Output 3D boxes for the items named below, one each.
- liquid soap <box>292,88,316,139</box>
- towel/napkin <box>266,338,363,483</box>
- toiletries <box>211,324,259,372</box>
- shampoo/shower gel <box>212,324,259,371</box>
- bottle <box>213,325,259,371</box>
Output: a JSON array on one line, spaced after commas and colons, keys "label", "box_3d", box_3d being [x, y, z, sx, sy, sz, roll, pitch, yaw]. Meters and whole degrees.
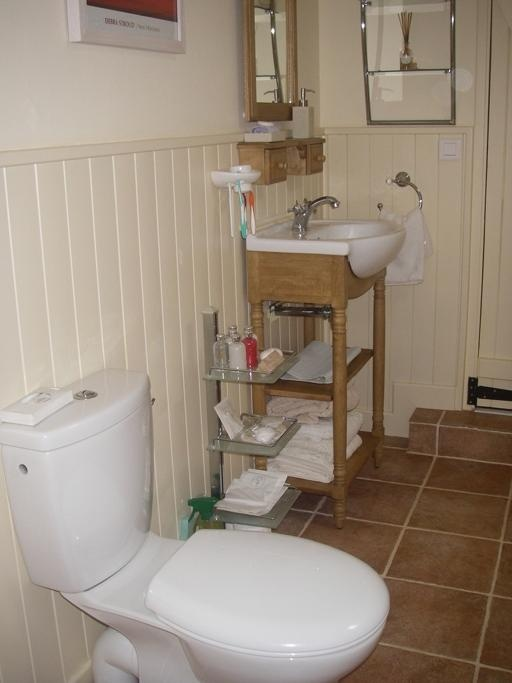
[{"label": "liquid soap", "box_3d": [0.178, -0.893, 2.213, 0.088, 0.190, 0.083, -3, 10, 3]}, {"label": "towel/napkin", "box_3d": [0.179, 0.279, 2.185, 0.427, 0.243, 0.482, 5, 26, 21]}, {"label": "toiletries", "box_3d": [-0.066, 0.013, 1.736, 0.140, 0.144, 0.126, -2, 13, -7]}, {"label": "shampoo/shower gel", "box_3d": [-0.059, 0.015, 1.682, 0.107, 0.152, 0.138, -1, 8, -2]}, {"label": "bottle", "box_3d": [-0.062, 0.030, 1.684, 0.132, 0.133, 0.125, -2, 12, -6]}]
